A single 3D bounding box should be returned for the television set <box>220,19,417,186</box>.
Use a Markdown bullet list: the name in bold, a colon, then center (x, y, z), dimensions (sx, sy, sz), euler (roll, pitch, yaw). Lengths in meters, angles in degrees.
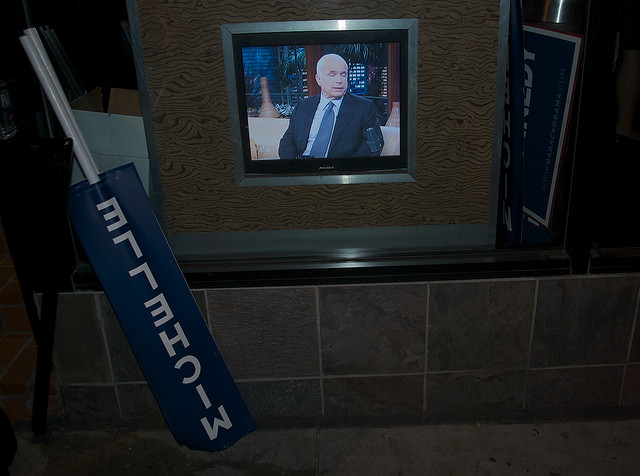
- **television set**: center (0.013, -0.684, 2.847), dimensions (0.993, 0.826, 0.120), euler (-3, 21, 0)
